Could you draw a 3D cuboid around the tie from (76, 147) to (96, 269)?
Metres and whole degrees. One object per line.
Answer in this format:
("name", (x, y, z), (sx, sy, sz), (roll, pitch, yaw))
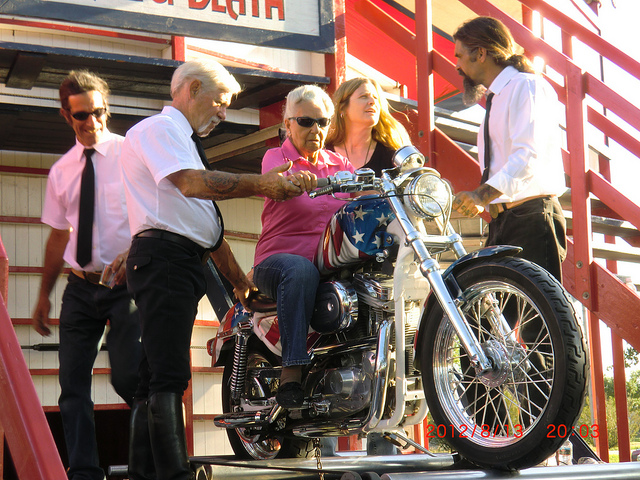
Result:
("tie", (-1.708, -0.250, 7.558), (0.116, 0.929, 0.072), (4, -17, -15))

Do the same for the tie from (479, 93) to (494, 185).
("tie", (1.182, -0.741, 7.451), (0.104, 0.730, 0.080), (-1, 8, -15))

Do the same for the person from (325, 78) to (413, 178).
("person", (0.332, -0.916, 8.186), (1.130, 0.716, 0.545), (1, -7, -7))
